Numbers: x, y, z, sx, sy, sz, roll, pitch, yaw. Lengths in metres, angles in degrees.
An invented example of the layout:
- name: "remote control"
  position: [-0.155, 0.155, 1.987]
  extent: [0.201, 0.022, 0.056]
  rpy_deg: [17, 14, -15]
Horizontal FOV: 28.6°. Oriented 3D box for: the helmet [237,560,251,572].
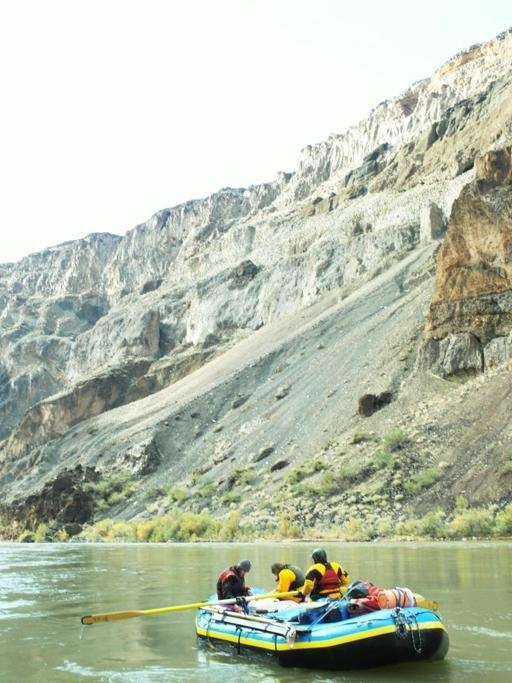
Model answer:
- name: "helmet"
  position: [-0.264, 4.831, 21.797]
  extent: [0.237, 0.271, 0.606]
  rpy_deg: [-3, -14, -2]
